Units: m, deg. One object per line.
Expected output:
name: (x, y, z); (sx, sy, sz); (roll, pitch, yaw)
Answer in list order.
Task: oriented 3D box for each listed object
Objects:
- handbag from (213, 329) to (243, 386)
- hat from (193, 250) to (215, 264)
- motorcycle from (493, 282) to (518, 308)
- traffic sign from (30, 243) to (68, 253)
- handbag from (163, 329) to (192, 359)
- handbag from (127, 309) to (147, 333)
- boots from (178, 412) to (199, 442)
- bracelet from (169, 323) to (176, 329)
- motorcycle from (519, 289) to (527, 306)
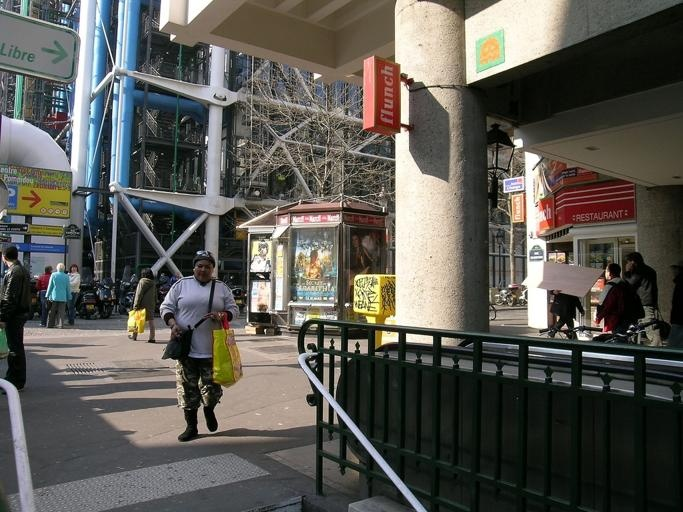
handbag: (-1.196, 1.059, 6.501); (0.266, 0.613, 0.298); (0, 1, 1)
hat: (-1.492, 0.018, 6.776); (0.166, 0.121, 0.231); (4, -31, -8)
motorcycle: (8.818, 2.068, 33.389); (1.112, 1.198, 2.093); (0, 1, 21)
traffic sign: (-12.363, -0.338, 26.102); (0.519, 0.319, 1.323); (0, 1, 40)
handbag: (-1.694, 0.918, 6.453); (0.290, 0.324, 0.173); (-1, 1, -14)
handbag: (-4.537, 1.433, 13.797); (0.355, 0.528, 0.415); (-1, 1, -18)
boots: (-1.620, 1.748, 6.511); (0.189, 0.300, 0.277); (0, 1, 4)
bracelet: (-1.755, 0.722, 6.467); (0.063, 0.061, 0.015); (3, -26, -2)
motorcycle: (9.772, 2.216, 33.881); (0.422, 1.047, 0.789); (2, -3, 21)
